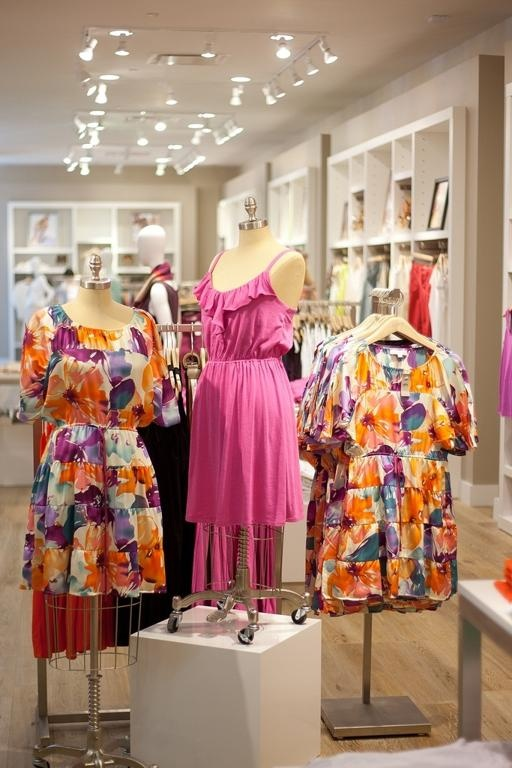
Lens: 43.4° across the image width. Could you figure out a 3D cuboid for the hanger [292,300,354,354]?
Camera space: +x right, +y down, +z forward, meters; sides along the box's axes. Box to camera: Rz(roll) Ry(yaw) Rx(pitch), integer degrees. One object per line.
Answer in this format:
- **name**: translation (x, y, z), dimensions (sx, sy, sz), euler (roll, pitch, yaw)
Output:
- **hanger**: translation (0.548, -0.502, 5.283), dimensions (0.396, 0.290, 0.511), euler (1, 15, 2)
